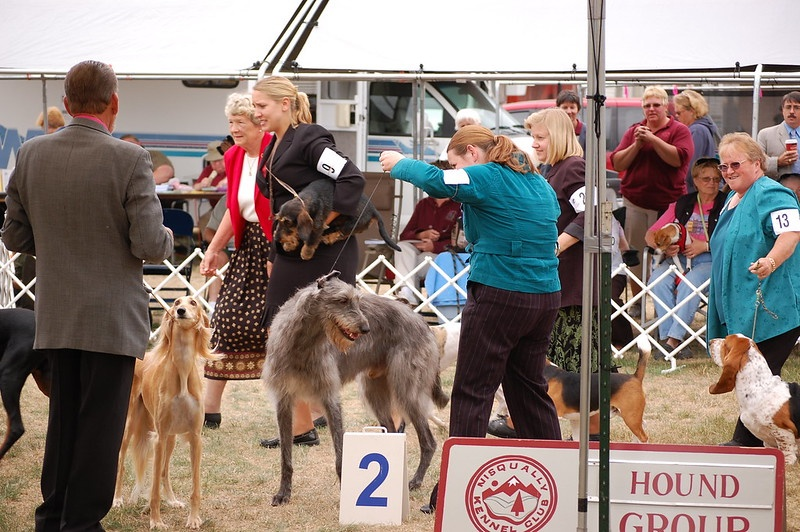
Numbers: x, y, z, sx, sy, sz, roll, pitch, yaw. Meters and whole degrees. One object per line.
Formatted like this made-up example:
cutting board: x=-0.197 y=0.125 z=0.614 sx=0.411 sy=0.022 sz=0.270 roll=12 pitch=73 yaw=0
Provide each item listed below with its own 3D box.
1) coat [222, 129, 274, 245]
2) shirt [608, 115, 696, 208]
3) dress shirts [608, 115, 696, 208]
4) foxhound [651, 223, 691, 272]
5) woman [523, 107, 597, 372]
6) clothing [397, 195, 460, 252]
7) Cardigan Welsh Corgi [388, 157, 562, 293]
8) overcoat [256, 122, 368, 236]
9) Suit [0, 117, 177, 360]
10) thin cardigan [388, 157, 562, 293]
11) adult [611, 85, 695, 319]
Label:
coat: x=-1.324 y=-0.650 z=9.512 sx=0.535 sy=0.925 sz=0.219 roll=-1 pitch=2 yaw=11
shirt: x=2.954 y=-1.171 z=12.748 sx=0.924 sy=1.091 sz=0.616 roll=3 pitch=3 yaw=39
dress shirts: x=2.954 y=-1.182 z=12.756 sx=0.907 sy=1.104 sz=0.632 roll=2 pitch=4 yaw=34
foxhound: x=3.025 y=-0.272 z=12.141 sx=0.344 sy=0.563 sz=0.531 roll=16 pitch=3 yaw=28
woman: x=1.295 y=-0.112 z=9.844 sx=0.676 sy=2.424 sz=0.825 roll=1 pitch=6 yaw=-12
clothing: x=0.397 y=-0.446 z=12.733 sx=0.749 sy=0.657 sz=0.970 roll=7 pitch=7 yaw=14
Cardigan Welsh Corgi: x=0.652 y=-0.284 z=8.192 sx=1.181 sy=0.958 sz=0.283 roll=0 pitch=4 yaw=-14
overcoat: x=-0.852 y=-0.777 z=9.280 sx=1.041 sy=1.042 sz=0.673 roll=17 pitch=24 yaw=40
Suit: x=-2.215 y=-0.202 z=7.834 sx=1.105 sy=1.677 sz=0.305 roll=2 pitch=4 yaw=11
thin cardigan: x=0.655 y=-0.284 z=8.191 sx=1.177 sy=0.958 sz=0.280 roll=0 pitch=4 yaw=-14
adult: x=2.943 y=-0.769 z=12.658 sx=0.736 sy=2.473 sz=0.879 roll=-1 pitch=2 yaw=-36
